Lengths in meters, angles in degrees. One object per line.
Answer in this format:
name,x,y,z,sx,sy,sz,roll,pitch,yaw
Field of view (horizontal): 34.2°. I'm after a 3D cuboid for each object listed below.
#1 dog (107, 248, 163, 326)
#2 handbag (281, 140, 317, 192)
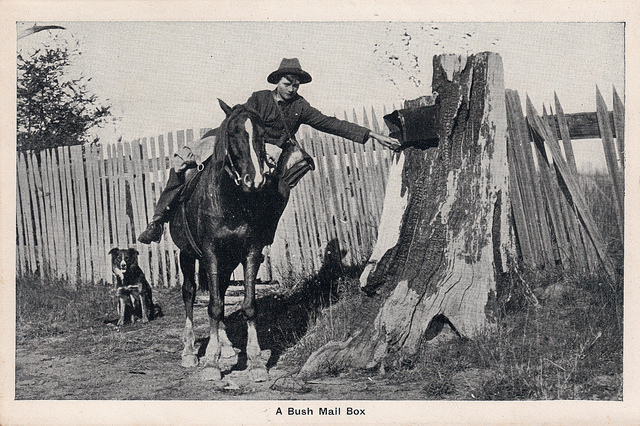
dog,-3.145,1.202,18.274,0.873,1.277,1.824,2,5,16
handbag,-0.382,-0.643,16.887,0.774,0.426,0.619,-42,7,27
